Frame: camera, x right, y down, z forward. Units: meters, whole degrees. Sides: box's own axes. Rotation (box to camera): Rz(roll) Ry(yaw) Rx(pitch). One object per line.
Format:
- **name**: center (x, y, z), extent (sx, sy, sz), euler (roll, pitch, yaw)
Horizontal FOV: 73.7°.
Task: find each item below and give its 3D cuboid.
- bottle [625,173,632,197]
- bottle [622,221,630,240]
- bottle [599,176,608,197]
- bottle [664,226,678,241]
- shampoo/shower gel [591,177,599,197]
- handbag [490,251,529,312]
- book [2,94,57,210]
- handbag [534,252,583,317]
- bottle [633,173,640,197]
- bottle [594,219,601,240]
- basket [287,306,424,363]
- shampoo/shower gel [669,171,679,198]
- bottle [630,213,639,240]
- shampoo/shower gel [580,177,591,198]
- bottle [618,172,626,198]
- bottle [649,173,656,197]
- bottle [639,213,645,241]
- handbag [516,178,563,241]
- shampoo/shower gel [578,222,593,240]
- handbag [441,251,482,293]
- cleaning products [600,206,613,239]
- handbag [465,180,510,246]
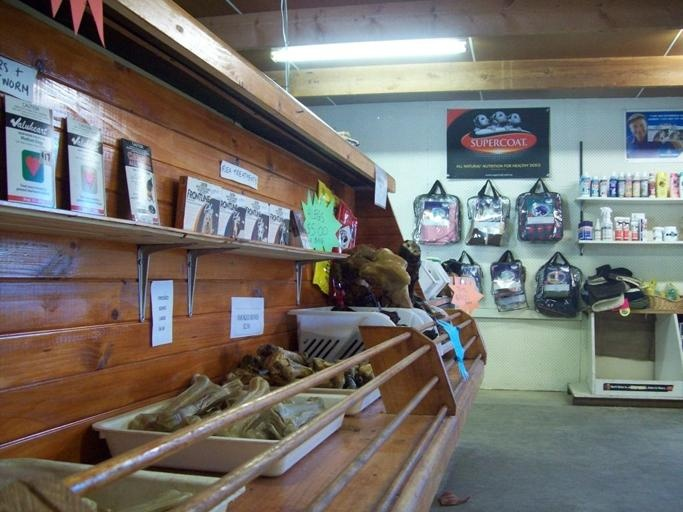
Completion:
- **bottle**: center (2.978, -0.728, 4.735), extent (0.076, 0.230, 0.030), euler (0, -4, -3)
- **bottle**: center (3.001, -0.261, 4.801), extent (0.074, 0.200, 0.028), euler (0, -4, -4)
- **bottle**: center (2.776, -0.731, 4.823), extent (0.096, 0.202, 0.044), euler (0, -4, -11)
- **bottle**: center (3.411, -0.240, 4.737), extent (0.150, 0.142, 0.145), euler (0, 0, 11)
- **shampoo/shower gel**: center (2.684, -0.723, 4.812), extent (0.099, 0.204, 0.065), euler (-1, -4, 8)
- **handbag**: center (1.842, 0.337, 5.027), extent (0.357, 0.552, 0.215), euler (-2, -4, 19)
- **book**: center (-0.594, -0.199, 0.871), extent (0.050, 0.207, 0.091), euler (-3, -5, 29)
- **handbag**: center (2.438, 0.218, 4.935), extent (0.387, 0.629, 0.458), euler (-22, 14, -24)
- **bottle**: center (3.061, -0.731, 4.737), extent (0.091, 0.254, 0.039), euler (2, -5, -29)
- **bottle**: center (2.734, -0.287, 4.860), extent (0.058, 0.233, 0.202), euler (-3, -5, 30)
- **basket**: center (0.036, 0.287, 1.917), extent (0.413, 0.158, 0.275), euler (-1, -2, 20)
- **shampoo/shower gel**: center (3.463, -0.738, 4.747), extent (0.129, 0.275, 0.081), euler (3, -5, -41)
- **bottle**: center (3.086, -0.304, 4.802), extent (0.098, 0.289, 0.048), euler (0, -4, -10)
- **shampoo/shower gel**: center (2.593, -0.729, 4.844), extent (0.104, 0.233, 0.154), euler (-2, -4, 26)
- **bottle**: center (2.926, -0.732, 4.755), extent (0.114, 0.256, 0.058), euler (2, -5, -29)
- **bottle**: center (3.226, -0.732, 4.744), extent (0.108, 0.246, 0.056), euler (3, -6, -42)
- **bottle**: center (3.176, -0.309, 4.815), extent (0.045, 0.302, 0.146), euler (-5, -6, 45)
- **handbag**: center (2.170, -0.512, 4.993), extent (0.482, 0.726, 0.279), euler (-2, -4, 17)
- **shampoo/shower gel**: center (2.586, -0.261, 4.837), extent (0.149, 0.208, 0.191), euler (-3, -5, 30)
- **handbag**: center (1.182, 0.152, 4.412), extent (0.462, 0.528, 0.200), euler (1, -19, -6)
- **cleaning products**: center (2.820, -0.341, 4.855), extent (0.120, 0.371, 0.248), euler (-3, -5, 30)
- **handbag**: center (1.589, -0.426, 4.991), extent (0.481, 0.688, 0.739), euler (1, -4, 7)
